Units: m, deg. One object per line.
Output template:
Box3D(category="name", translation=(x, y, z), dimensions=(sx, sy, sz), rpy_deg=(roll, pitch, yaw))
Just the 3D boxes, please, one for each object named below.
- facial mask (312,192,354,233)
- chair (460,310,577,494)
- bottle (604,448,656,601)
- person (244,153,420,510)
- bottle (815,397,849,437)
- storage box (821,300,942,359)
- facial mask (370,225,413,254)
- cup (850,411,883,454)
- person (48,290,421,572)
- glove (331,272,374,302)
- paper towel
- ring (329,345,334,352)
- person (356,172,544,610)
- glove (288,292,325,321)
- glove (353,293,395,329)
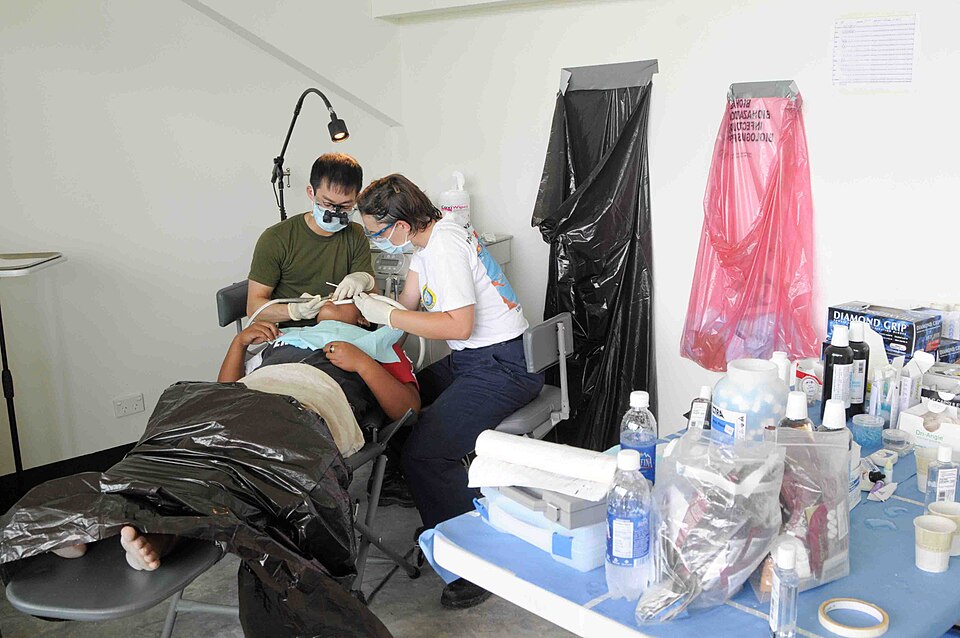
Box3D(category="facial mask", translation=(-0.661, -0.473, 3.020), dimensions=(0.132, 0.091, 0.160), rpy_deg=(0, 31, -19))
Box3D(category="chair", translation=(0.266, 0.259, 2.856), dimensions=(0.562, 0.770, 0.540), rpy_deg=(7, 19, 29))
Box3D(category="bottle", translation=(0.340, 0.484, 1.562), dimensions=(0.113, 0.355, 0.111), rpy_deg=(-1, 8, 0))
Box3D(category="person", translation=(-0.645, 0.075, 3.019), dimensions=(0.614, 1.575, 0.906), rpy_deg=(-4, 7, -34))
Box3D(category="bottle", translation=(0.847, 0.241, 1.649), dimensions=(0.093, 0.091, 0.089), rpy_deg=(3, 8, 25))
Box3D(category="storage box", translation=(1.349, 0.023, 2.245), dimensions=(0.348, 0.191, 0.239), rpy_deg=(8, 5, 36))
Box3D(category="facial mask", translation=(-0.355, -0.317, 2.835), dimensions=(0.127, 0.054, 0.118), rpy_deg=(-17, 27, -22))
Box3D(category="cup", translation=(1.171, 0.347, 2.034), dimensions=(0.116, 0.118, 0.118), rpy_deg=(-5, 11, 1))
Box3D(category="person", translation=(-0.763, 0.293, 2.406), dimensions=(0.553, 0.605, 1.028), rpy_deg=(12, 19, 32))
Box3D(category="glove", translation=(-0.552, -0.157, 2.983), dimensions=(0.106, 0.057, 0.176), rpy_deg=(2, 25, 28))
Box3D(category="paper towel", translation=(0.157, 0.370, 1.684), dimensions=(0.269, 0.075, 0.167), rpy_deg=(2, 28, 24))
Box3D(category="ring", translation=(-0.552, 0.110, 2.524), dimensions=(0.023, 0.021, 0.022), rpy_deg=(-1, 12, 0))
Box3D(category="person", translation=(-0.096, 0.247, 2.968), dimensions=(0.741, 1.665, 0.756), rpy_deg=(-4, 10, 8))
Box3D(category="glove", translation=(-0.748, -0.044, 2.943), dimensions=(0.099, 0.073, 0.140), rpy_deg=(-2, 18, 27))
Box3D(category="glove", translation=(-0.430, -0.034, 2.854), dimensions=(0.182, 0.108, 0.073), rpy_deg=(22, 31, 31))
